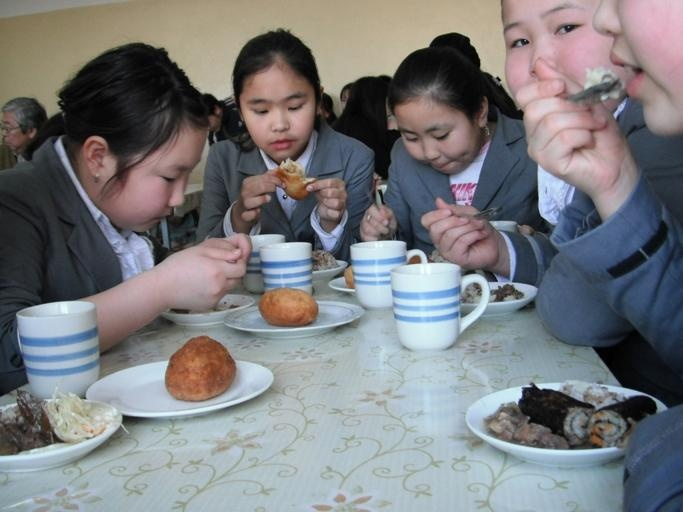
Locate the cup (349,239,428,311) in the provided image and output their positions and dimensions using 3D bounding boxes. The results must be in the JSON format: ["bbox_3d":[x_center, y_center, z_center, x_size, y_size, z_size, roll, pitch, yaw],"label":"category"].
[{"bbox_3d":[0.130,0.044,1.604,0.178,0.237,0.227,2,8,-28],"label":"cup"}]

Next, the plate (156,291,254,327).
[{"bbox_3d":[-0.457,0.162,1.623,0.226,0.081,0.247,6,8,38],"label":"plate"}]

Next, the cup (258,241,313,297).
[{"bbox_3d":[-0.203,0.039,1.751,0.171,0.180,0.153,-3,9,-41],"label":"cup"}]

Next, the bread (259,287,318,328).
[{"bbox_3d":[-0.145,0.146,1.441,0.172,0.107,0.162,-5,11,-28],"label":"bread"}]

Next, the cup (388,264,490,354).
[{"bbox_3d":[0.241,0.143,1.276,0.277,0.200,0.177,-2,3,-10],"label":"cup"}]

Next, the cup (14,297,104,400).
[{"bbox_3d":[-0.594,0.197,1.066,0.168,0.199,0.181,2,9,0],"label":"cup"}]

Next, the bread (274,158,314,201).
[{"bbox_3d":[-0.245,-0.402,2.495,0.123,0.210,0.182,9,15,31],"label":"bread"}]

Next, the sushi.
[{"bbox_3d":[0.402,0.249,0.810,0.139,0.078,0.185,1,6,-11],"label":"sushi"}]

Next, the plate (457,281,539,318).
[{"bbox_3d":[0.508,0.115,1.551,0.228,0.103,0.221,-3,9,-27],"label":"plate"}]
